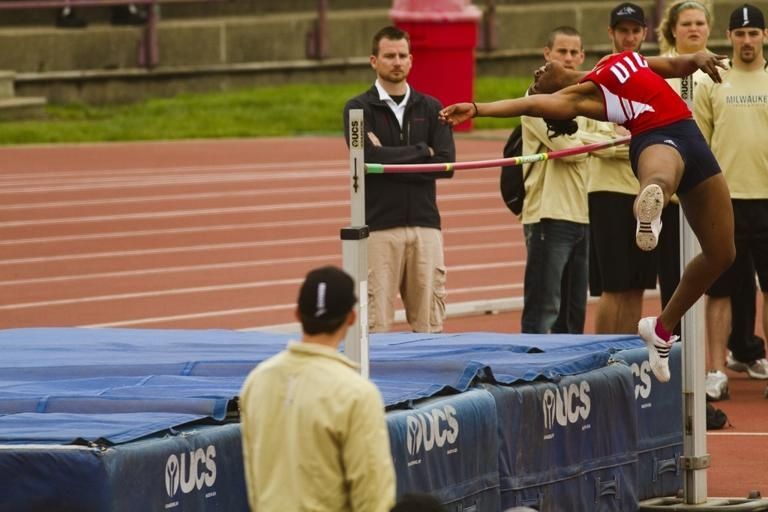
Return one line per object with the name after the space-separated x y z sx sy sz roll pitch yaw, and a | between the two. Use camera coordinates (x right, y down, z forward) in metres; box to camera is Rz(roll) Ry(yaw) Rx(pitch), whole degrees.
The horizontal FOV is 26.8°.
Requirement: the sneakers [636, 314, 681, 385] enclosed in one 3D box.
1.752 0.636 10.350 0.228 0.506 0.174 -9 12 21 | sneakers

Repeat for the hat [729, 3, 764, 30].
2.709 -1.795 12.131 0.222 0.168 0.221 -4 10 -13 | hat

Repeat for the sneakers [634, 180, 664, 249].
1.575 -0.255 9.590 0.148 0.414 0.179 5 4 7 | sneakers
